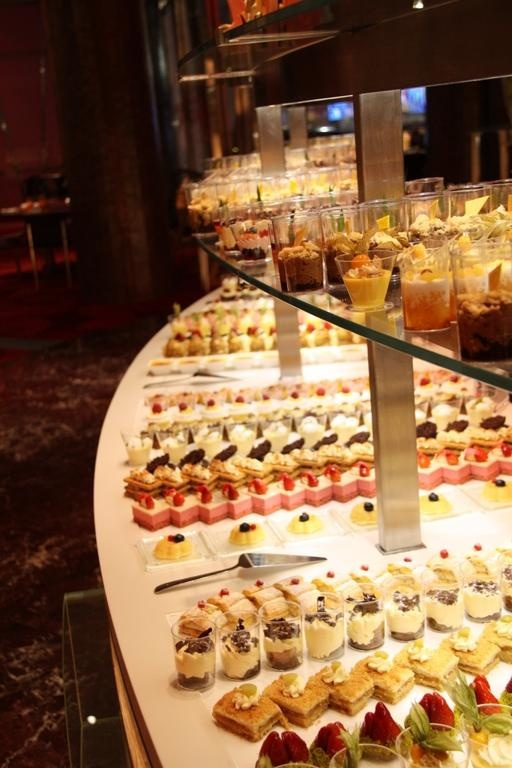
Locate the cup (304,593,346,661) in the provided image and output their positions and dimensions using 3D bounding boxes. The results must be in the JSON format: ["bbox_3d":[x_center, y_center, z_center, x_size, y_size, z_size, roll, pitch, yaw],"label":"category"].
[{"bbox_3d":[0.142,0.504,1.218,0.073,0.112,0.074,-1,26,1],"label":"cup"}]

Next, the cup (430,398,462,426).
[{"bbox_3d":[0.743,0.108,2.306,0.096,0.085,0.096,-1,6,0],"label":"cup"}]

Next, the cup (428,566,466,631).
[{"bbox_3d":[0.413,0.461,1.301,0.075,0.114,0.117,-3,18,16],"label":"cup"}]

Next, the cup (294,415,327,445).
[{"bbox_3d":[0.215,0.178,2.316,0.101,0.117,0.106,0,3,0],"label":"cup"}]

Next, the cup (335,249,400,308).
[{"bbox_3d":[0.193,-0.186,1.057,0.108,0.100,0.081,-1,18,20],"label":"cup"}]

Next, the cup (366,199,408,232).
[{"bbox_3d":[0.271,-0.338,1.210,0.079,0.078,0.080,-3,15,1],"label":"cup"}]

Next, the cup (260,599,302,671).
[{"bbox_3d":[0.055,0.514,1.206,0.104,0.156,0.110,0,17,0],"label":"cup"}]

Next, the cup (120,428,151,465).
[{"bbox_3d":[-0.459,0.240,2.296,0.119,0.121,0.125,0,4,0],"label":"cup"}]

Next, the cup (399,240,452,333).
[{"bbox_3d":[0.246,-0.140,0.855,0.069,0.114,0.085,-3,18,16],"label":"cup"}]

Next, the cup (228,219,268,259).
[{"bbox_3d":[-0.020,-0.482,1.996,0.137,0.127,0.144,-1,8,0],"label":"cup"}]

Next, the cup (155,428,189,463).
[{"bbox_3d":[-0.330,0.242,2.361,0.115,0.123,0.119,0,0,0],"label":"cup"}]

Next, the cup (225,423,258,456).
[{"bbox_3d":[-0.052,0.215,2.317,0.110,0.109,0.114,0,4,0],"label":"cup"}]

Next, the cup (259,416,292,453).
[{"bbox_3d":[0.077,0.195,2.317,0.110,0.116,0.110,-1,9,0],"label":"cup"}]

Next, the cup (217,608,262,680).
[{"bbox_3d":[-0.033,0.526,1.192,0.078,0.116,0.076,-1,26,0],"label":"cup"}]

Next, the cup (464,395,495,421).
[{"bbox_3d":[0.876,0.085,2.318,0.095,0.084,0.095,-2,11,0],"label":"cup"}]

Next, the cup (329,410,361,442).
[{"bbox_3d":[0.351,0.165,2.327,0.109,0.100,0.108,0,5,0],"label":"cup"}]

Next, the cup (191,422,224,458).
[{"bbox_3d":[-0.188,0.215,2.327,0.117,0.121,0.127,0,4,0],"label":"cup"}]
